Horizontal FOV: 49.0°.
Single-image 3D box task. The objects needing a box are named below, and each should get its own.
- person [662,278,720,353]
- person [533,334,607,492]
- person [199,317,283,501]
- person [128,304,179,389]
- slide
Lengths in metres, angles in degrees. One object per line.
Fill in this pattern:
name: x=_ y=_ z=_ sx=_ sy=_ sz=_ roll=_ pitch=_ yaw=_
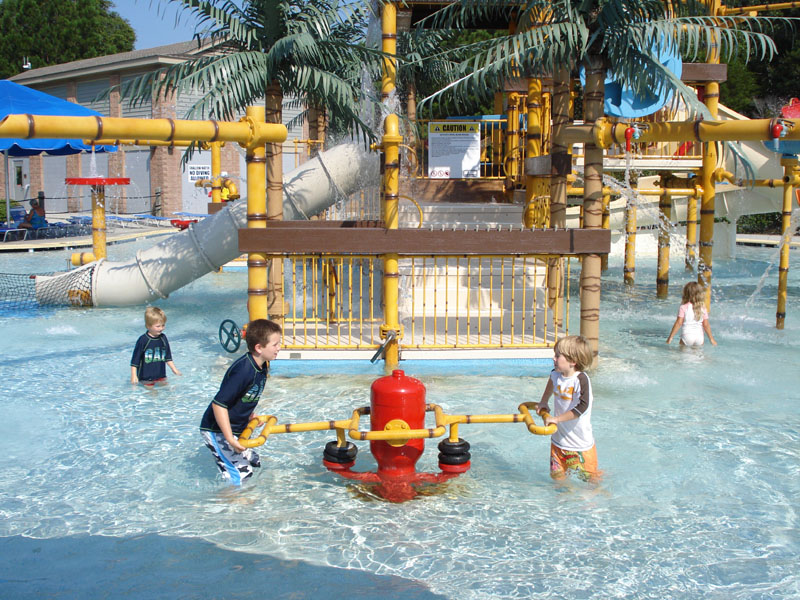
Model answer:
person: x=4.184 y=0.221 z=12.587 sx=0.620 sy=0.955 sz=0.493 roll=1 pitch=6 yaw=1
person: x=1.660 y=1.154 z=8.545 sx=0.786 sy=1.448 sz=0.532 roll=-26 pitch=45 yaw=-18
person: x=-1.443 y=0.953 z=7.875 sx=0.651 sy=1.604 sz=0.671 roll=-2 pitch=7 yaw=-22
person: x=-2.981 y=0.563 z=10.561 sx=0.498 sy=1.017 sz=0.763 roll=-2 pitch=6 yaw=-20
slide: x=-3.309 y=-1.162 z=14.691 sx=5.879 sy=2.799 sz=0.945 roll=3 pitch=7 yaw=27
